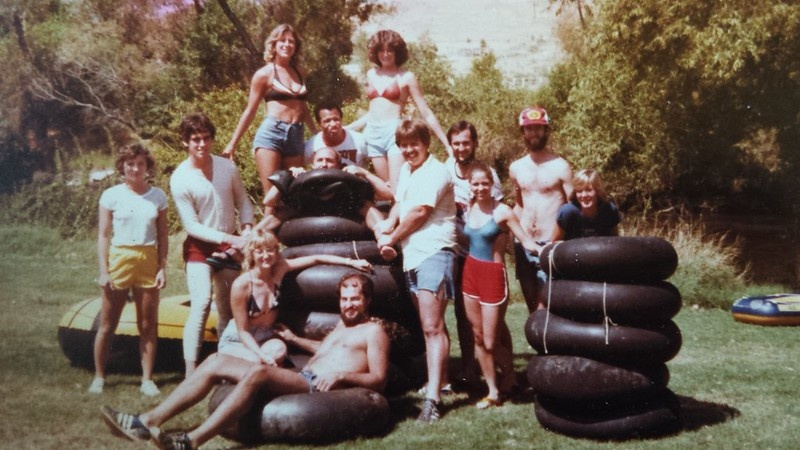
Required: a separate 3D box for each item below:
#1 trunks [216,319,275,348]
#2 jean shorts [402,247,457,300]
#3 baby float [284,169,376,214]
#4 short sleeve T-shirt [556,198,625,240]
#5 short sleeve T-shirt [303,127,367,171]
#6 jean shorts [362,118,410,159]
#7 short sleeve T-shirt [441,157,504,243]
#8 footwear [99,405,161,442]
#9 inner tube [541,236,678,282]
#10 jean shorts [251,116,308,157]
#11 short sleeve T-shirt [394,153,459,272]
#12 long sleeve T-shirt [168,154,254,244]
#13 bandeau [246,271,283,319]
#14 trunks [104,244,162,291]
[{"bbox_3d":[-2.474,1.763,11.412,0.690,0.455,0.430,1,2,-3],"label":"trunks"},{"bbox_3d":[0.532,0.774,11.691,0.812,0.818,1.070,7,-4,-27],"label":"jean shorts"},{"bbox_3d":[-1.417,-0.505,12.454,1.364,0.539,1.148,-6,-6,-38],"label":"baby float"},{"bbox_3d":[3.167,-0.051,11.749,1.152,1.039,0.596,-1,1,6],"label":"short sleeve T-shirt"},{"bbox_3d":[-0.966,-1.336,12.939,0.723,0.743,0.418,-3,36,-8],"label":"short sleeve T-shirt"},{"bbox_3d":[-0.181,-1.588,13.088,0.912,0.797,0.644,-1,-1,20],"label":"jean shorts"},{"bbox_3d":[1.102,-0.517,11.971,1.167,1.086,0.649,15,11,22],"label":"short sleeve T-shirt"},{"bbox_3d":[-4.042,2.994,10.709,1.045,0.392,0.400,28,-23,-2],"label":"footwear"},{"bbox_3d":[3.561,0.561,11.598,2.182,0.616,2.108,-1,-2,-10],"label":"inner tube"},{"bbox_3d":[-2.164,-1.609,12.828,0.978,0.643,0.635,6,4,-24],"label":"jean shorts"},{"bbox_3d":[0.354,-0.394,11.724,0.896,1.569,1.363,-5,13,-31],"label":"short sleeve T-shirt"},{"bbox_3d":[-3.121,-0.451,11.948,1.284,1.479,1.039,-14,10,-32],"label":"long sleeve T-shirt"},{"bbox_3d":[-2.216,1.114,11.396,0.539,0.719,0.265,5,5,-20],"label":"bandeau"},{"bbox_3d":[-4.533,0.736,12.056,0.932,0.806,0.574,5,4,-18],"label":"trunks"}]
